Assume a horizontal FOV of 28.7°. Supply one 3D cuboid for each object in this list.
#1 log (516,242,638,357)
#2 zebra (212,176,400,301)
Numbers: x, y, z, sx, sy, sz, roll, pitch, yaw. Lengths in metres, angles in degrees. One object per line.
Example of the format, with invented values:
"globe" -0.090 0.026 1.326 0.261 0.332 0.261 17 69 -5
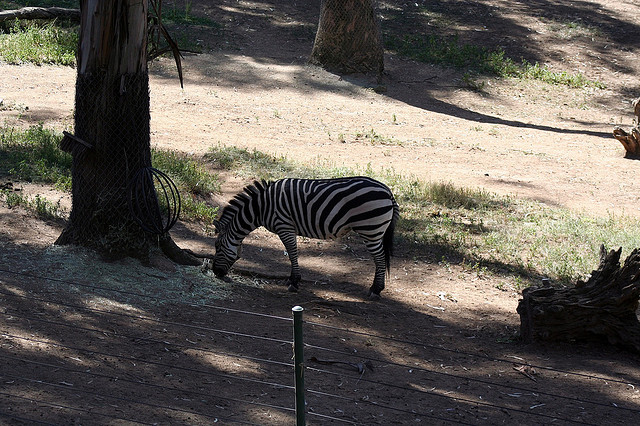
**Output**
"log" 5.923 1.819 28.021 2.713 1.542 2.616 4 8 15
"zebra" -0.235 0.561 28.746 4.858 2.529 1.185 0 6 26
